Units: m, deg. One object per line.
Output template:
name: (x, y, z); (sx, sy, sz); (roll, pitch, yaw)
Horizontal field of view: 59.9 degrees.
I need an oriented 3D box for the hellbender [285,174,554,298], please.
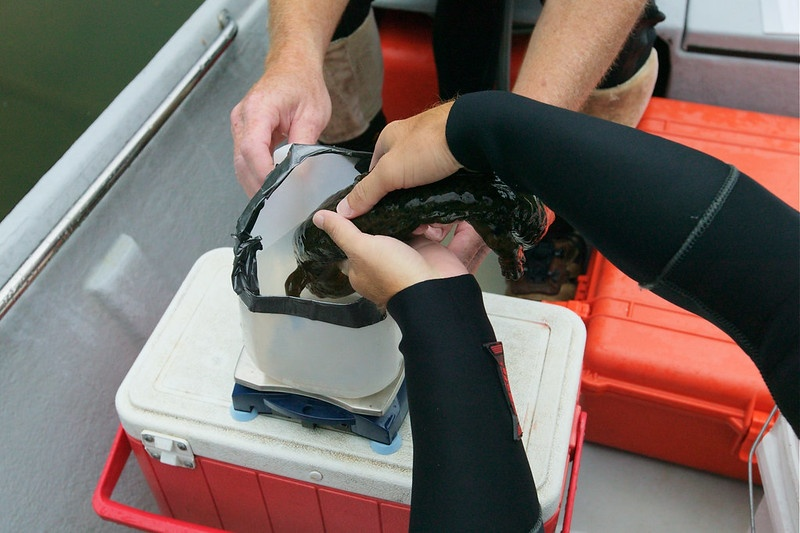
hellbender: (0.018, -0.090, 1.205); (0.328, 0.116, 0.264); (-20, 26, 10)
